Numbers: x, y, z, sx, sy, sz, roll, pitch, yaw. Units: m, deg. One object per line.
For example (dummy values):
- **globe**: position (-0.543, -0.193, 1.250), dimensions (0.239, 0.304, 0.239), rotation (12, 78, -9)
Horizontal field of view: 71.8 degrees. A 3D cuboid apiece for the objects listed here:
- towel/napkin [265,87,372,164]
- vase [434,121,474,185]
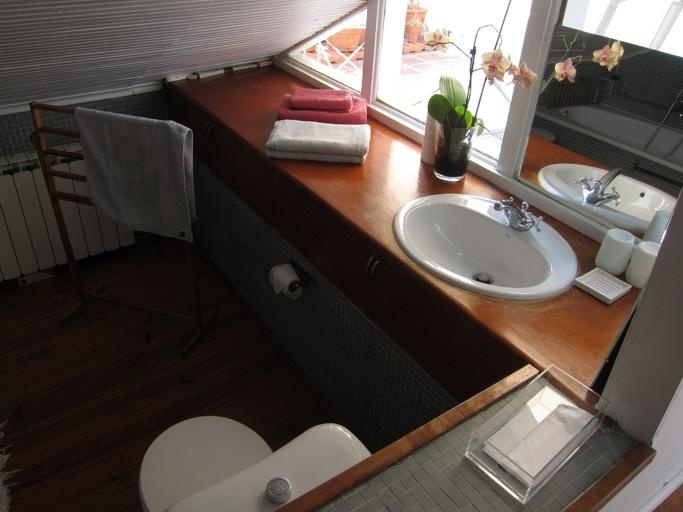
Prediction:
- **towel/napkin**: position (-0.087, -0.566, 1.990), dimensions (0.407, 0.132, 0.480), rotation (7, 39, -1)
- **vase**: position (0.404, -0.378, 1.709), dimensions (0.143, 0.215, 0.133), rotation (-12, 38, -16)
